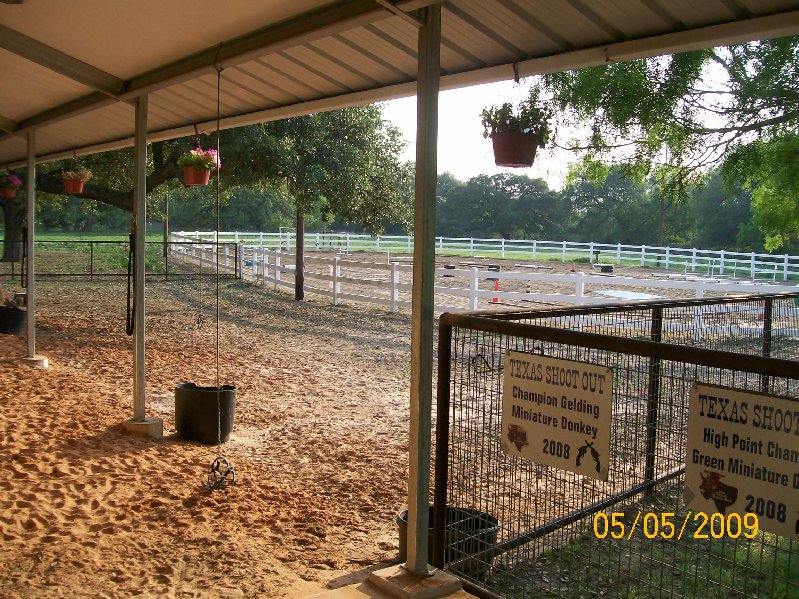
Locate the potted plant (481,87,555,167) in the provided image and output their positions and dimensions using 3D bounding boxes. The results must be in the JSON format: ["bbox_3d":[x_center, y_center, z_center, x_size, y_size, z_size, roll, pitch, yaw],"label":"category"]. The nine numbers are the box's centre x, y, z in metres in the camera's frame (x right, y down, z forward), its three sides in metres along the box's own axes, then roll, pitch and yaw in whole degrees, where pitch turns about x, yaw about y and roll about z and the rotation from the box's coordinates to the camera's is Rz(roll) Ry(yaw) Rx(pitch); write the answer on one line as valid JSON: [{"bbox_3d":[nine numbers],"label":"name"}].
[{"bbox_3d":[1.287,-1.774,7.951,0.727,0.763,0.692,3,-6,23],"label":"potted plant"}]

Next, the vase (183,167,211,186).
[{"bbox_3d":[-2.688,-1.639,9.743,0.325,0.209,0.327,-1,0,-35],"label":"vase"}]

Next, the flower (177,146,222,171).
[{"bbox_3d":[-2.533,-1.832,9.514,0.622,0.343,0.651,-6,8,-44],"label":"flower"}]

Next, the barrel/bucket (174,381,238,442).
[{"bbox_3d":[-2.002,1.168,7.605,0.631,0.582,0.622,1,-1,0],"label":"barrel/bucket"}]
